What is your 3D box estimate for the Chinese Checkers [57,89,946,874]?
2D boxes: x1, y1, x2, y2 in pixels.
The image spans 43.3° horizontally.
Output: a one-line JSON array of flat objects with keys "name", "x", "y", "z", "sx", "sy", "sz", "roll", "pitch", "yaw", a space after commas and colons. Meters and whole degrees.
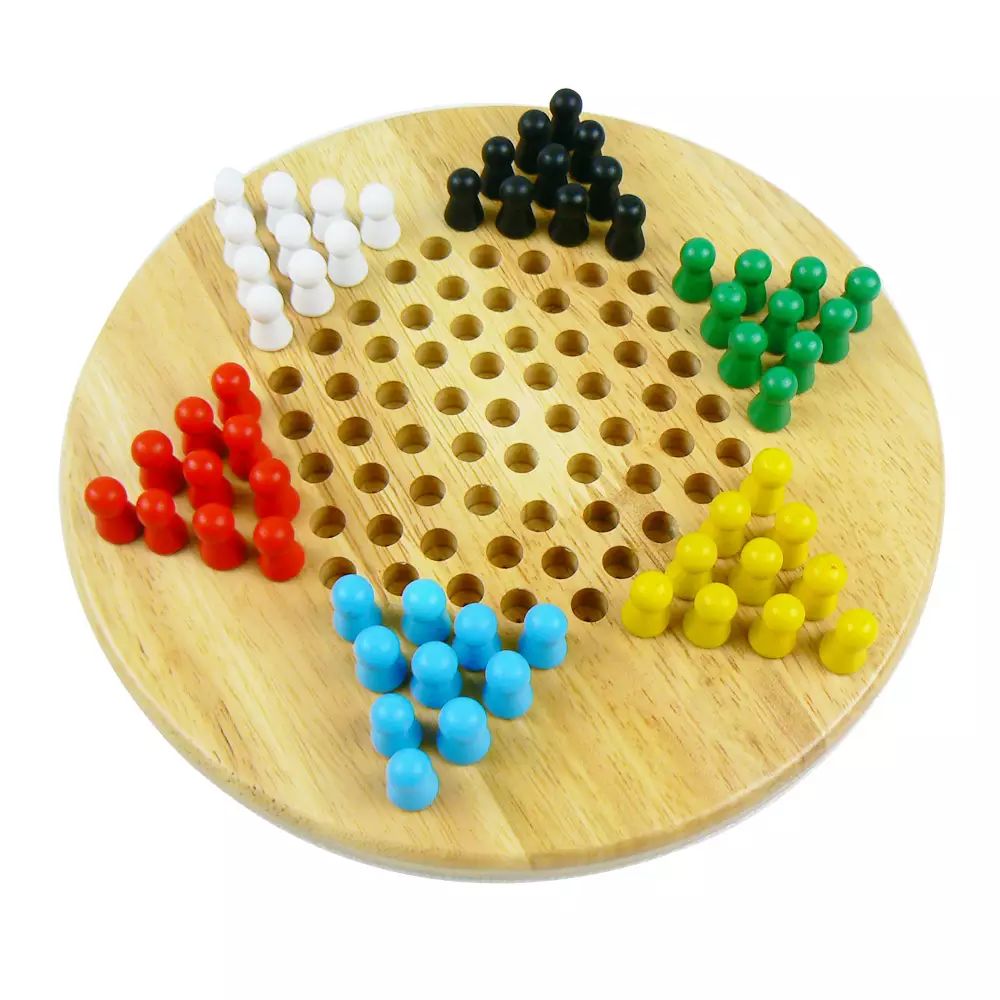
[{"name": "Chinese Checkers", "x": 0.013, "y": -0.108, "z": 1.922, "sx": 1.264, "sy": 0.955, "sz": 1.104, "roll": -15, "pitch": 22, "yaw": -31}]
